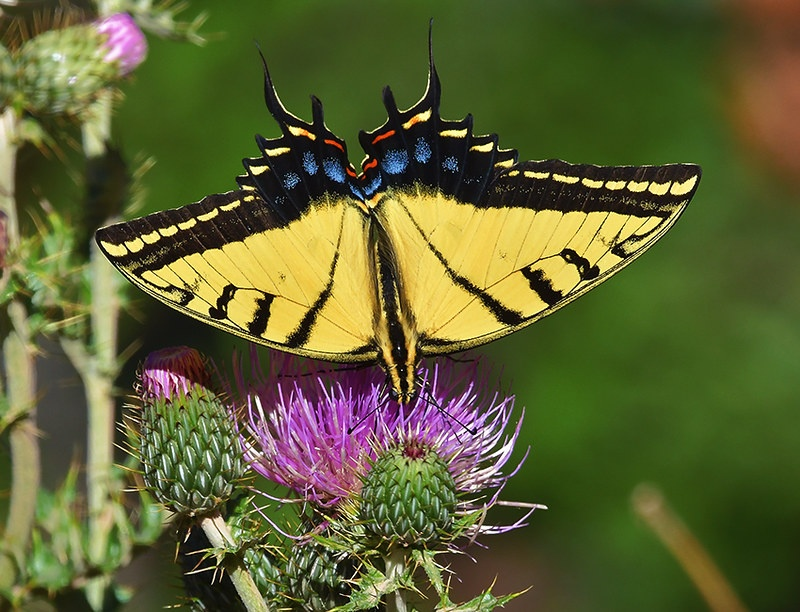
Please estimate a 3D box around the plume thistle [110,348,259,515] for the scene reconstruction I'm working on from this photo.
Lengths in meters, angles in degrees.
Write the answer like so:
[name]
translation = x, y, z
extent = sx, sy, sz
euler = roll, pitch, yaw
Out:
[plume thistle]
translation = -0.698, 0.437, 3.838
extent = 0.347, 0.588, 0.383
euler = -8, 4, 25
